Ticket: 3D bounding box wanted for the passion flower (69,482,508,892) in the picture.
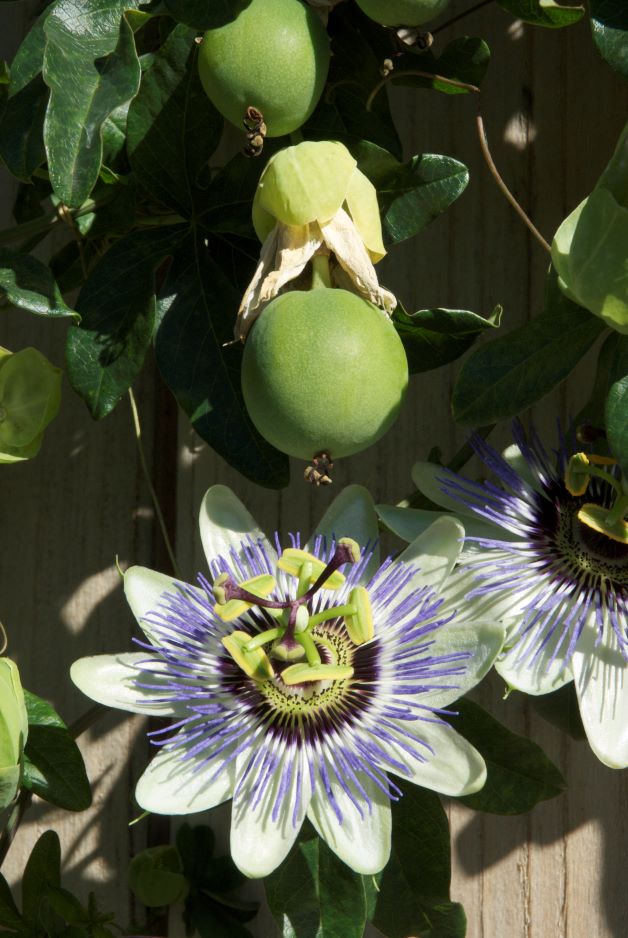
[{"bbox_3d":[-0.010,0.173,0.862,0.280,0.336,0.267,24,74,8],"label":"passion flower"}]
